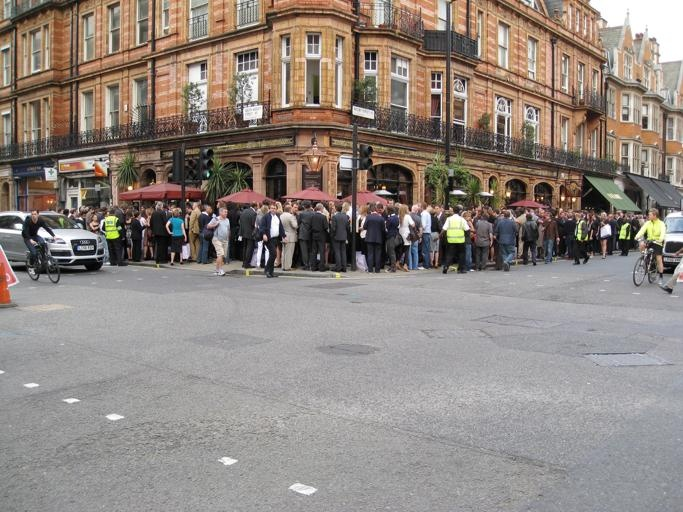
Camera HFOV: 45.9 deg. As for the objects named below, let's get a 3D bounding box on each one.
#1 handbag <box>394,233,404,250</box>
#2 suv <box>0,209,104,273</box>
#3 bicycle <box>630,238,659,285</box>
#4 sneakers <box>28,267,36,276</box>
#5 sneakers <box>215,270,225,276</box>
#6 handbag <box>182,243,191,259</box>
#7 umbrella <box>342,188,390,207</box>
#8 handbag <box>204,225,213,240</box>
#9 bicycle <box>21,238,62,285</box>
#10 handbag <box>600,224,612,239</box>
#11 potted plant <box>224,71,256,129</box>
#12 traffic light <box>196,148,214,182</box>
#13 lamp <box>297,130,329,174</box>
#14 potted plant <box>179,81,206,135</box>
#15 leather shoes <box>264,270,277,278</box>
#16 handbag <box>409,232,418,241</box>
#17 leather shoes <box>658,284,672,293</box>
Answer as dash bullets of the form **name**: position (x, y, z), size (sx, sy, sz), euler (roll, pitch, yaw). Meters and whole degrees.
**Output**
- **handbag**: position (1.621, -0.412, 22.829), size (0.225, 0.492, 0.446), euler (1, 8, 5)
- **suv**: position (-8.408, -0.435, 22.826), size (3.238, 1.349, 1.444), euler (1, 2, 38)
- **bicycle**: position (7.709, 0.256, 20.358), size (0.566, 0.866, 1.269), euler (-3, -5, 36)
- **sneakers**: position (-7.773, 0.384, 20.152), size (0.177, 0.263, 0.246), euler (-3, -9, -32)
- **sneakers**: position (-3.309, 0.471, 21.647), size (0.273, 0.153, 0.113), euler (-1, 2, 39)
- **handbag**: position (-5.085, -0.127, 25.757), size (0.363, 0.533, 0.415), euler (0, 1, 41)
- **umbrella**: position (0.858, -1.849, 25.972), size (0.912, 0.365, 0.959), euler (-3, 6, -31)
- **handbag**: position (-4.149, -0.694, 24.835), size (0.288, 0.478, 0.520), euler (-2, 8, -15)
- **bicycle**: position (-7.380, 0.118, 19.715), size (0.668, 0.981, 1.380), euler (-2, 1, -40)
- **handbag**: position (10.390, -0.973, 31.784), size (0.252, 0.445, 0.326), euler (29, -33, -16)
- **potted plant**: position (-3.772, -5.890, 30.488), size (1.120, 1.932, 0.976), euler (2, 7, 14)
- **traffic light**: position (-4.004, -2.625, 23.319), size (0.461, 0.934, 0.688), euler (-1, 8, -6)
- **lamp**: position (-0.908, -3.423, 26.262), size (0.722, 1.515, 0.660), euler (-5, -12, 45)
- **potted plant**: position (-5.901, -5.924, 32.475), size (0.777, 1.952, 1.689), euler (-5, 9, -36)
- **leather shoes**: position (-1.929, 0.483, 21.399), size (0.435, 0.217, 0.138), euler (-6, -3, 45)
- **handbag**: position (2.008, -0.569, 22.912), size (0.170, 0.273, 0.071), euler (-4, 14, -14)
- **leather shoes**: position (7.433, 0.761, 18.411), size (0.347, 0.172, 0.137), euler (24, -2, 1)
